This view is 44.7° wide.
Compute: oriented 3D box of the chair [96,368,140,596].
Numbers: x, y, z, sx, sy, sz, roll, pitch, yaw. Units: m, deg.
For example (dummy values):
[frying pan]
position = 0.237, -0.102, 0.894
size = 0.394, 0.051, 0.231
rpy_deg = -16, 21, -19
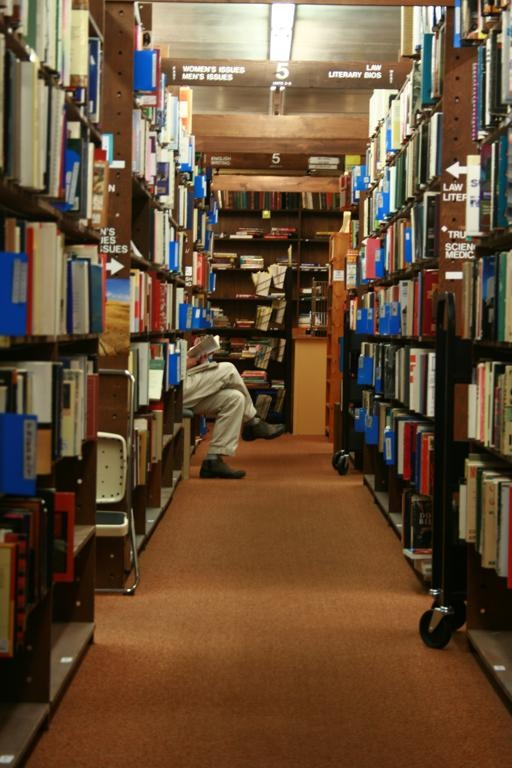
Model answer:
[chair]
position = -0.586, 0.404, 2.668
size = 0.183, 0.952, 0.422
rpy_deg = 1, -2, -12

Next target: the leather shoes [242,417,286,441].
[leather shoes]
position = 0.080, 0.457, 6.225
size = 0.380, 0.210, 0.232
rpy_deg = -7, 12, -11

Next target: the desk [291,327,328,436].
[desk]
position = 0.690, 0.156, 7.951
size = 0.512, 1.034, 0.322
rpy_deg = -1, 10, 8
